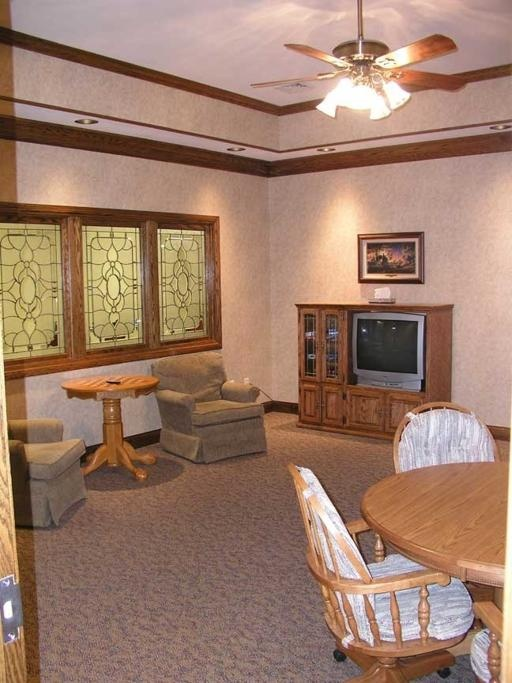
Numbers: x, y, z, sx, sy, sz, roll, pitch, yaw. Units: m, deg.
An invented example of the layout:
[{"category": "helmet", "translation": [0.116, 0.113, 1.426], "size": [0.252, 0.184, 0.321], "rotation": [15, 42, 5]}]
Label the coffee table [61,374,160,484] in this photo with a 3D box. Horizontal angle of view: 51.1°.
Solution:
[{"category": "coffee table", "translation": [-1.278, 0.792, 4.959], "size": [0.918, 0.776, 0.924], "rotation": [7, 11, 41]}]

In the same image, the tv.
[{"category": "tv", "translation": [1.422, 0.099, 5.647], "size": [0.861, 0.906, 0.533], "rotation": [3, 5, 38]}]

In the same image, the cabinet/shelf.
[{"category": "cabinet/shelf", "translation": [1.267, 0.276, 5.529], "size": [1.609, 1.415, 0.570], "rotation": [1, 2, 32]}]

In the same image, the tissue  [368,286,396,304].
[{"category": "tissue ", "translation": [1.448, -0.505, 6.008], "size": [0.313, 0.200, 0.238], "rotation": [3, 7, 43]}]

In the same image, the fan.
[{"category": "fan", "translation": [0.643, -1.392, 2.709], "size": [0.762, 0.233, 0.897], "rotation": [0, 5, 21]}]

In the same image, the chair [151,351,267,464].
[{"category": "chair", "translation": [-0.519, 0.631, 5.716], "size": [1.040, 1.058, 1.149], "rotation": [-5, 6, -38]}]

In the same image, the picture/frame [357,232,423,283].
[{"category": "picture/frame", "translation": [1.575, -0.972, 6.171], "size": [0.660, 0.459, 0.029], "rotation": [4, 8, 40]}]
